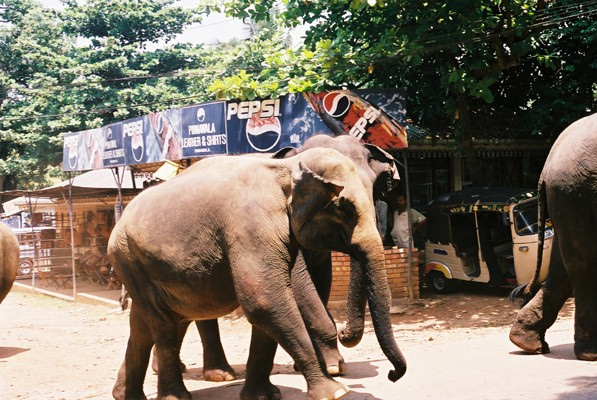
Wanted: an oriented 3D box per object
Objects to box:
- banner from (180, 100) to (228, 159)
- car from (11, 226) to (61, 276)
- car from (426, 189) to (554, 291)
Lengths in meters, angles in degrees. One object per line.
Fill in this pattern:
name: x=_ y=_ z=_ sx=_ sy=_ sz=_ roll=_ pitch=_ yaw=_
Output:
banner: x=-2.109 y=-1.535 z=12.682 sx=1.584 sy=1.165 sz=0.032 roll=-3 pitch=-2 yaw=25
car: x=-8.744 y=1.750 z=19.577 sx=1.596 sy=1.840 sz=1.225 roll=5 pitch=-6 yaw=-8
car: x=4.461 y=0.908 z=12.944 sx=1.954 sy=1.925 sz=2.908 roll=-8 pitch=3 yaw=-34
